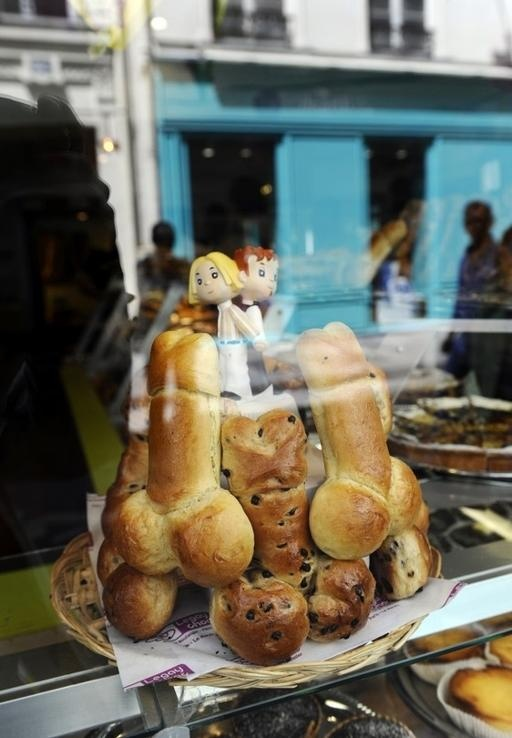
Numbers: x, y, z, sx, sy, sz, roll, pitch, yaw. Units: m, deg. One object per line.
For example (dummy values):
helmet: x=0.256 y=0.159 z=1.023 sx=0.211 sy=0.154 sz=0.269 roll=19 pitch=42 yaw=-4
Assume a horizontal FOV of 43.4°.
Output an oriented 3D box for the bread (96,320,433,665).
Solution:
bread: x=0.001 y=0.143 z=0.788 sx=0.300 sy=0.378 sz=0.305 roll=-1 pitch=0 yaw=-24
